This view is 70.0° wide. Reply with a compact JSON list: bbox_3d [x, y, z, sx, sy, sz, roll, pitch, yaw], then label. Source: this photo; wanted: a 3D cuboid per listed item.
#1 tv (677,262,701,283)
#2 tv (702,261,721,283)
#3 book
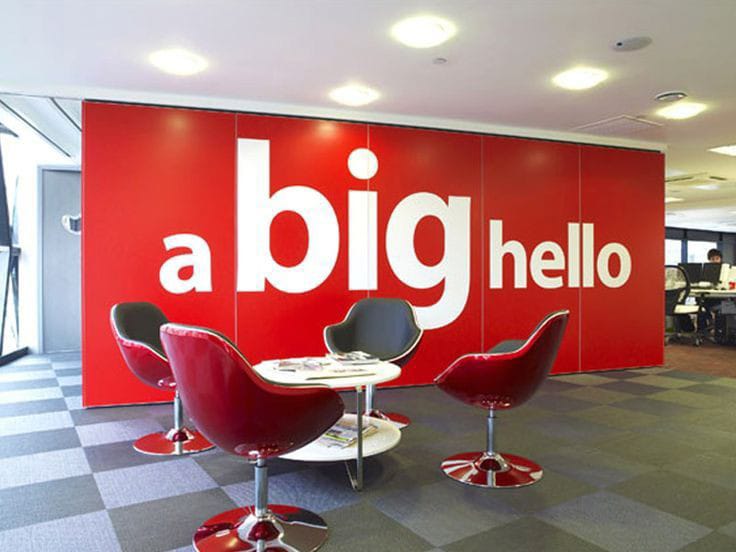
[{"bbox_3d":[6.792,-0.068,11.080,0.342,0.383,0.420,-1,-3,-30],"label":"tv"},{"bbox_3d":[7.382,-0.083,11.265,0.098,0.360,0.402,6,7,-13],"label":"tv"},{"bbox_3d":[-0.345,0.863,4.065,0.724,0.416,0.734,1,2,42],"label":"book"}]
